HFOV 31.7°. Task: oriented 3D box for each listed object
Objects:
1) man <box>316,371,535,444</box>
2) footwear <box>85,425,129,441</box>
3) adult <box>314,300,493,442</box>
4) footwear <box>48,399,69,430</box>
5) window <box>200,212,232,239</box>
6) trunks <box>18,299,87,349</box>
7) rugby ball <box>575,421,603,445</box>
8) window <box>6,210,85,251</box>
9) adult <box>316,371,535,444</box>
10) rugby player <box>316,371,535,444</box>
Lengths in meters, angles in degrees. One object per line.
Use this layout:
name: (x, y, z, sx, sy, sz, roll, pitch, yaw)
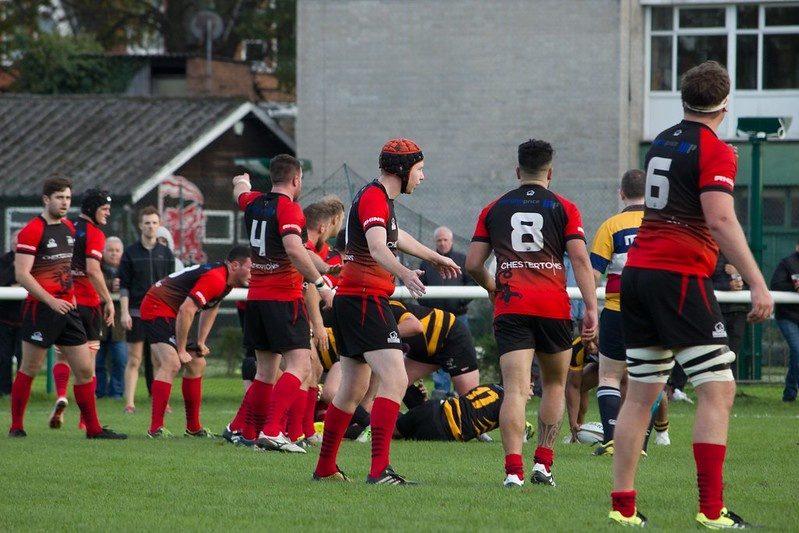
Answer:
man: (0.408, 2.209, 21.245, 3.251, 1.464, 1.156, 0, -7, 4)
footwear: (-4.300, 2.446, 20.744, 0.645, 0.229, 0.225, -2, -3, 3)
adult: (0.555, 1.863, 20.860, 3.399, 1.465, 1.174, -4, 30, -18)
footwear: (-5.232, 2.288, 21.544, 0.216, 0.634, 0.290, 12, 23, -13)
window: (-4.256, -0.928, 32.342, 0.579, 0.575, 0.074, -2, 5, -22)
trunks: (-5.117, 0.932, 20.838, 1.083, 0.902, 0.620, 2, -4, -35)
rugby ball: (2.732, 2.434, 20.291, 0.326, 0.260, 0.275, -24, -15, 13)
window: (-5.661, -0.564, 22.605, 1.014, 1.068, 0.102, -1, -6, 1)
adult: (0.430, 2.223, 21.242, 3.251, 1.464, 1.156, 0, -7, 4)
rugby player: (0.410, 2.103, 21.262, 3.251, 1.464, 1.156, 0, -7, 4)
